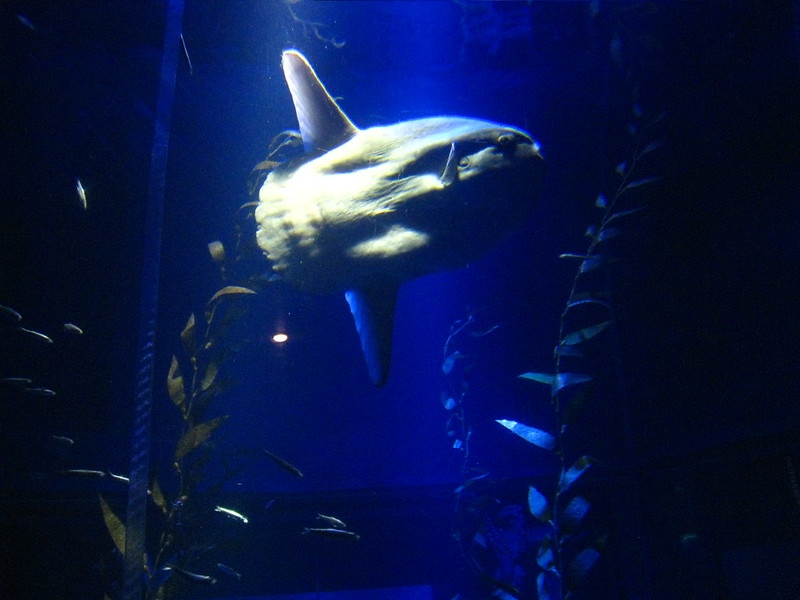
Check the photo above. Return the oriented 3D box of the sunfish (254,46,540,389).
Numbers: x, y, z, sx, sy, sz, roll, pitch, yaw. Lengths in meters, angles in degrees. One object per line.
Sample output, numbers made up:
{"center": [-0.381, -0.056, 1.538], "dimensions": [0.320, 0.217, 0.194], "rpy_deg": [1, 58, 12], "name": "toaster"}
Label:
{"center": [0.050, -0.559, 4.794], "dimensions": [2.103, 1.808, 0.566], "rpy_deg": [-6, 15, 39], "name": "sunfish"}
